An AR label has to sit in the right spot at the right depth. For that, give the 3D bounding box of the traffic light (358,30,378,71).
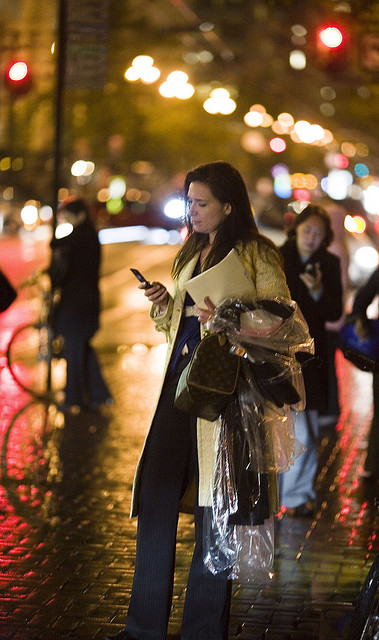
[{"bbox_3d":[2.665,-4.007,8.898,0.302,0.480,0.110,3,2,10],"label":"traffic light"}]

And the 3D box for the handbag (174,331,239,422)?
[{"bbox_3d":[0.062,0.191,1.976,0.207,0.202,0.103,3,2,-1],"label":"handbag"}]

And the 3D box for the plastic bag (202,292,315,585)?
[{"bbox_3d":[0.248,0.412,2.133,0.316,0.695,0.293,11,9,24],"label":"plastic bag"}]

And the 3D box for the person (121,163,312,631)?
[{"bbox_3d":[0.094,0.307,2.161,0.629,1.137,0.495,3,2,11],"label":"person"}]

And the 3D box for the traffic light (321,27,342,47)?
[{"bbox_3d":[2.191,-4.363,9.282,0.121,0.251,0.376,2,2,-42],"label":"traffic light"}]

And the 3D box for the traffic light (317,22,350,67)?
[{"bbox_3d":[2.237,-4.289,9.347,0.270,0.603,0.851,3,1,-15],"label":"traffic light"}]

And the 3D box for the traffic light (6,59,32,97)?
[{"bbox_3d":[-2.510,-3.625,9.095,0.601,0.524,0.149,-1,2,21],"label":"traffic light"}]
